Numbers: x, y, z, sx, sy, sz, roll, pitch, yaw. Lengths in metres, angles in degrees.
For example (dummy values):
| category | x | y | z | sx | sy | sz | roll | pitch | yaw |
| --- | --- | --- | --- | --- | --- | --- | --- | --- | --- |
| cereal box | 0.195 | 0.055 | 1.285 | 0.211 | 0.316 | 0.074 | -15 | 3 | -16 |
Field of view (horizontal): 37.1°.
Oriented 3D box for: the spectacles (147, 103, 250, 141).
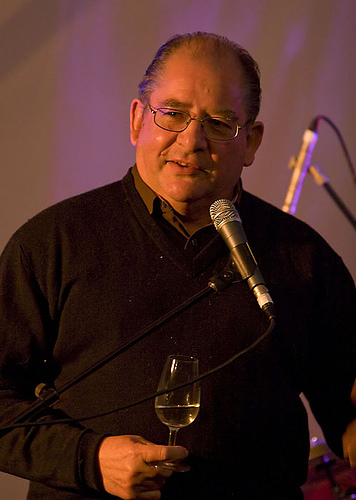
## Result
| category | x | y | z | sx | sy | sz | roll | pitch | yaw |
| --- | --- | --- | --- | --- | --- | --- | --- | --- | --- |
| spectacles | 0.053 | -0.393 | 1.664 | 0.282 | 0.093 | 0.090 | 4 | 3 | 0 |

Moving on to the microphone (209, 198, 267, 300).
| category | x | y | z | sx | sy | sz | roll | pitch | yaw |
| --- | --- | --- | --- | --- | --- | --- | --- | --- | --- |
| microphone | 0.111 | -0.004 | 1.211 | 0.079 | 0.307 | 0.069 | -18 | -38 | 3 |
